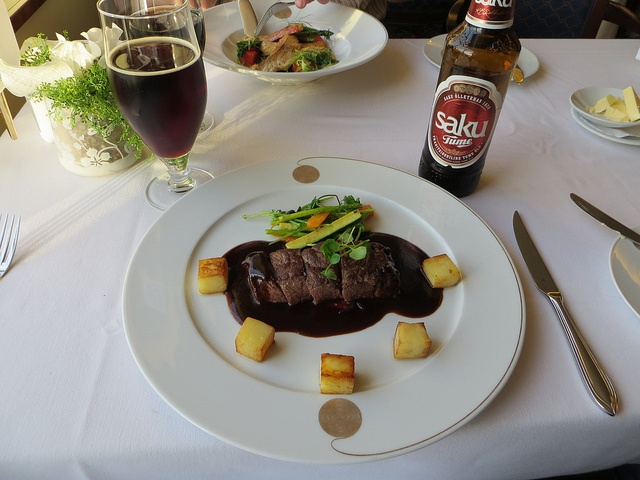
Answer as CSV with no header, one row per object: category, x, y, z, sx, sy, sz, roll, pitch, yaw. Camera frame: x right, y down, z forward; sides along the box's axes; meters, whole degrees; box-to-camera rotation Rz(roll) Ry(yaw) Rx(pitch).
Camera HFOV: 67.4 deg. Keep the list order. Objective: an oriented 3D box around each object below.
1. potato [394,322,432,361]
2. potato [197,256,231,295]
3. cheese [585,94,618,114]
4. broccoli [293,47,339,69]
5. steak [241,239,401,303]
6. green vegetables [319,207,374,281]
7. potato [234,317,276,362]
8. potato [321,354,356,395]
potato,0.184,0.198,0.959,0.078,0.048,0.068,-2,60,1
potato,-0.236,0.075,1.063,0.062,0.054,0.062,1,41,1
cheese,0.853,-0.407,1.451,0.080,0.029,0.056,-42,24,10
broccoli,-0.013,-0.588,1.583,0.134,0.035,0.082,-13,67,-34
steak,0.001,0.079,1.154,0.341,0.108,0.184,-4,29,-6
green vegetables,0.063,0.018,1.150,0.092,0.157,0.124,-4,32,-4
potato,-0.127,0.194,0.954,0.072,0.054,0.075,21,30,-1
potato,0.033,0.256,0.919,0.066,0.045,0.071,2,60,4
